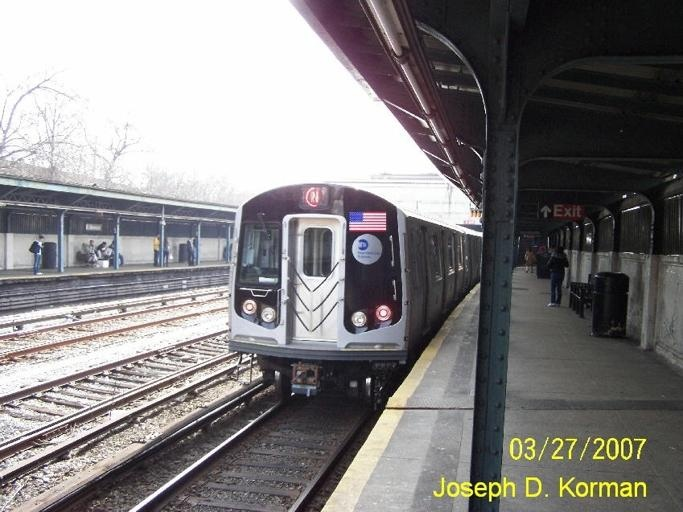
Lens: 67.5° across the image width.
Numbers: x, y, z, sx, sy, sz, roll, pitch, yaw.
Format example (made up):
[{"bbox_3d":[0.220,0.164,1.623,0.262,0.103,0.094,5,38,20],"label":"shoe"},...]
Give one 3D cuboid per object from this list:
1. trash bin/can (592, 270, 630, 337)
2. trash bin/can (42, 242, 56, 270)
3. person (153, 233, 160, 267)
[{"bbox_3d":[5.519,1.050,10.472,0.624,1.415,0.782,3,4,28],"label":"trash bin/can"},{"bbox_3d":[-14.363,-0.020,25.079,0.615,1.268,0.592,-2,5,-37],"label":"trash bin/can"},{"bbox_3d":[-10.805,-0.157,29.905,0.289,1.653,1.154,0,4,-17],"label":"person"}]
